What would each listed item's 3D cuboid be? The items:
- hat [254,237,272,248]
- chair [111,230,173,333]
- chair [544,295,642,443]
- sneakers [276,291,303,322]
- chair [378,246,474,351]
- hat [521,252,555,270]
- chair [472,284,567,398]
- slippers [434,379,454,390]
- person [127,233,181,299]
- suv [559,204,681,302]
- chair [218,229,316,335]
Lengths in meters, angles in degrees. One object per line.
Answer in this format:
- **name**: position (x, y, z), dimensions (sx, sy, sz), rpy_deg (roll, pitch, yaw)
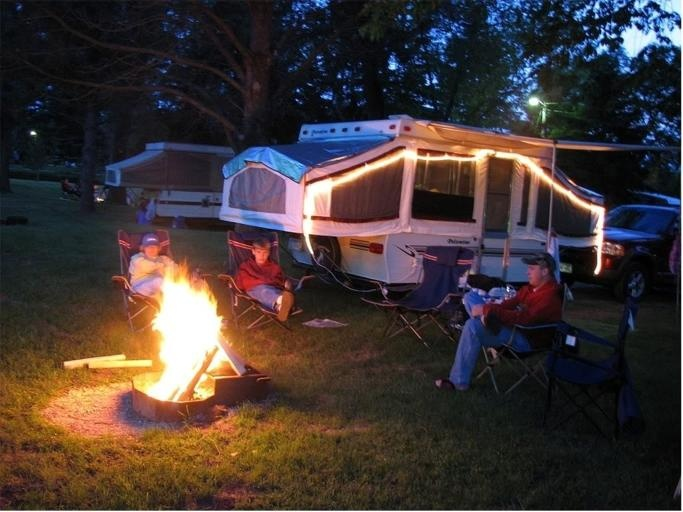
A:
- **hat**: position (-1.090, -0.191, 7.840), dimensions (0.151, 0.065, 0.157), rpy_deg (9, 12, 39)
- **chair**: position (-2.645, 0.255, 7.516), dimensions (0.819, 0.815, 1.338), rpy_deg (0, 22, -30)
- **chair**: position (2.369, 1.042, 5.362), dimensions (1.001, 1.228, 0.919), rpy_deg (2, 3, 44)
- **sneakers**: position (-0.690, 0.623, 7.333), dimensions (0.189, 0.431, 0.255), rpy_deg (9, 4, -16)
- **chair**: position (1.133, 0.460, 7.512), dimensions (0.915, 1.275, 1.039), rpy_deg (9, 2, 39)
- **hat**: position (2.321, 0.052, 6.704), dimensions (0.345, 0.134, 0.223), rpy_deg (13, 6, 16)
- **chair**: position (1.900, 0.839, 5.963), dimensions (0.653, 1.126, 0.871), rpy_deg (2, 7, -1)
- **slippers**: position (1.075, 1.338, 5.888), dimensions (0.148, 0.058, 0.085), rpy_deg (2, 1, 24)
- **person**: position (-2.531, 0.096, 7.441), dimensions (0.579, 0.682, 0.742), rpy_deg (1, 12, -10)
- **suv**: position (5.333, -0.209, 11.075), dimensions (2.757, 1.424, 1.516), rpy_deg (2, 0, -28)
- **chair**: position (-1.108, 0.303, 7.819), dimensions (1.127, 1.099, 1.423), rpy_deg (1, 5, -25)
